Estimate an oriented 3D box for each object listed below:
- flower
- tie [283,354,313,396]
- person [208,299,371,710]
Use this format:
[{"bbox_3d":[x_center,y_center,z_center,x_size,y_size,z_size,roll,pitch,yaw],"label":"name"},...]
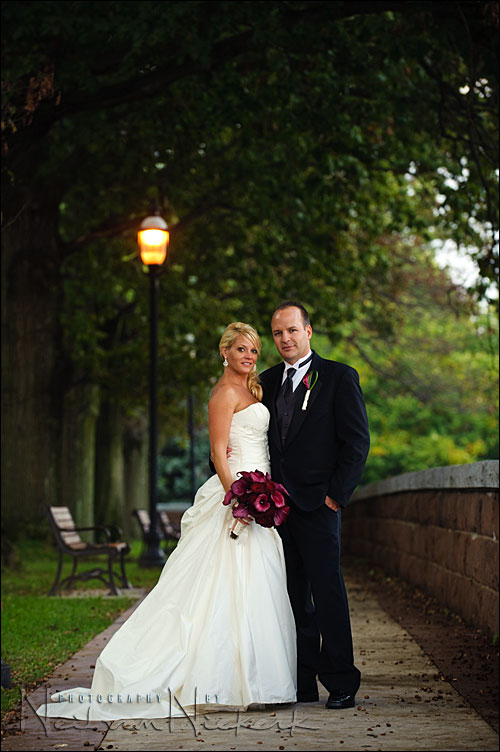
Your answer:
[{"bbox_3d":[0.034,0.741,4.883,0.402,0.393,0.303,-2,-5,19],"label":"flower"},{"bbox_3d":[0.309,-0.002,5.211,0.181,0.216,0.164,12,9,11],"label":"tie"},{"bbox_3d":[0.377,0.709,5.035,0.448,2.322,0.670,2,-5,-37],"label":"person"}]
